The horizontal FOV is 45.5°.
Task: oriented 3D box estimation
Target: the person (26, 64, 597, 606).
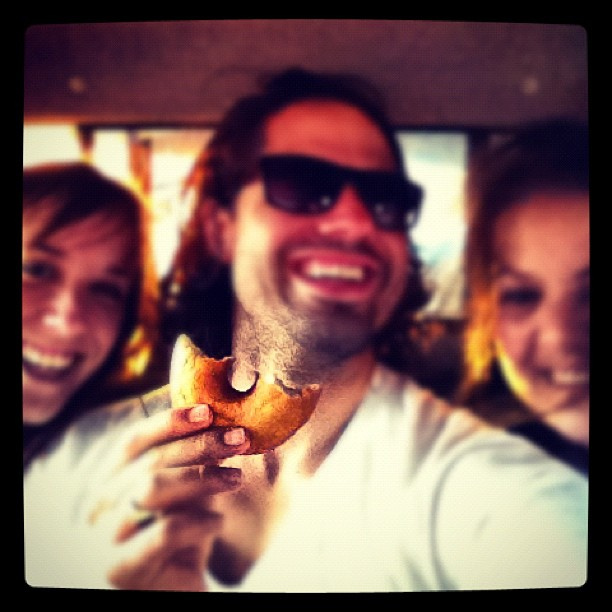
[{"bbox_3d":[-0.020,0.056,1.944,1.726,1.168,0.605,1,-2,-2],"label":"person"}]
